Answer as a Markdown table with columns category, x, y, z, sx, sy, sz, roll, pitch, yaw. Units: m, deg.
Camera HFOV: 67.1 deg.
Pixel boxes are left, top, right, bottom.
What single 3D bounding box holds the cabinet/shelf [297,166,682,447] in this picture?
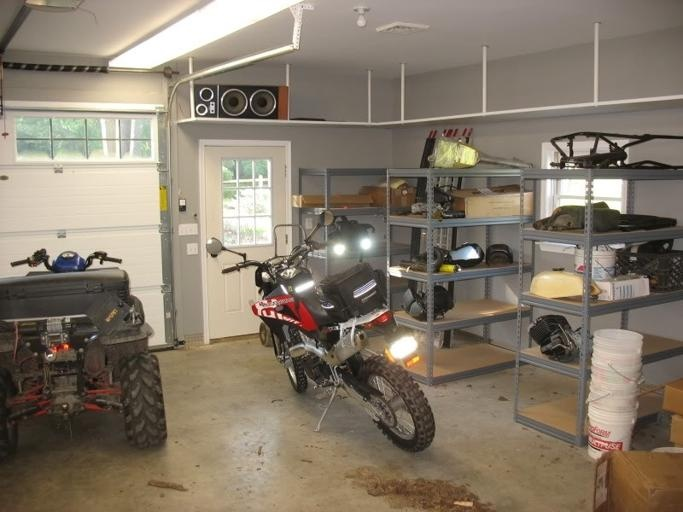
| category | x | y | z | sx | sy | sz | roll | pitch | yaw |
| --- | --- | --- | --- | --- | --- | --- | --- | --- | --- |
| cabinet/shelf | 1.482 | 0.513 | 4.813 | 0.878 | 1.456 | 2.691 | -4 | 7 | -29 |

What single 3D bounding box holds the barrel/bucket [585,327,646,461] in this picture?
| category | x | y | z | sx | sy | sz | roll | pitch | yaw |
| --- | --- | --- | --- | --- | --- | --- | --- | --- | --- |
| barrel/bucket | 2.090 | 1.087 | 3.996 | 0.353 | 0.932 | 0.526 | 9 | 14 | 42 |

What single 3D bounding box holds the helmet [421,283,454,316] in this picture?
| category | x | y | z | sx | sy | sz | roll | pitch | yaw |
| --- | --- | --- | --- | --- | --- | --- | --- | --- | --- |
| helmet | 1.023 | 0.446 | 5.316 | 0.268 | 0.295 | 0.277 | -5 | 7 | -9 |

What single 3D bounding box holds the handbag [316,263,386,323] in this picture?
| category | x | y | z | sx | sy | sz | roll | pitch | yaw |
| --- | --- | --- | --- | --- | --- | --- | --- | --- | --- |
| handbag | 0.140 | 0.270 | 4.186 | 0.556 | 0.359 | 0.390 | -22 | 4 | -20 |

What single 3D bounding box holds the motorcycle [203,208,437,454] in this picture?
| category | x | y | z | sx | sy | sz | roll | pitch | yaw |
| --- | --- | --- | --- | --- | --- | --- | --- | --- | --- |
| motorcycle | -0.051 | 0.581 | 4.318 | 0.934 | 1.883 | 1.713 | -8 | 13 | -34 |
